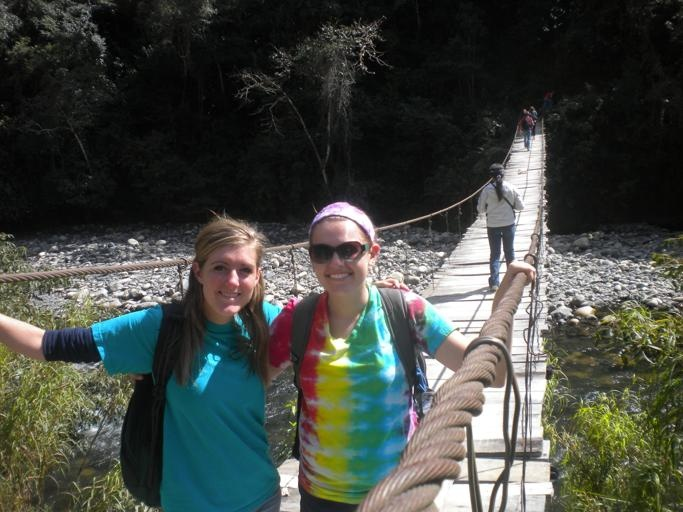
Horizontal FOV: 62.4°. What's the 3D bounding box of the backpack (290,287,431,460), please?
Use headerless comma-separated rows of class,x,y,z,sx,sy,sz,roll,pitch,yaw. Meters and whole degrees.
backpack,0.073,0.439,2.114,0.475,0.677,0.342,-9,17,12

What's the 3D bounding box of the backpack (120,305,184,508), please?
backpack,-0.740,0.582,2.208,0.247,0.782,0.179,-2,3,-20
